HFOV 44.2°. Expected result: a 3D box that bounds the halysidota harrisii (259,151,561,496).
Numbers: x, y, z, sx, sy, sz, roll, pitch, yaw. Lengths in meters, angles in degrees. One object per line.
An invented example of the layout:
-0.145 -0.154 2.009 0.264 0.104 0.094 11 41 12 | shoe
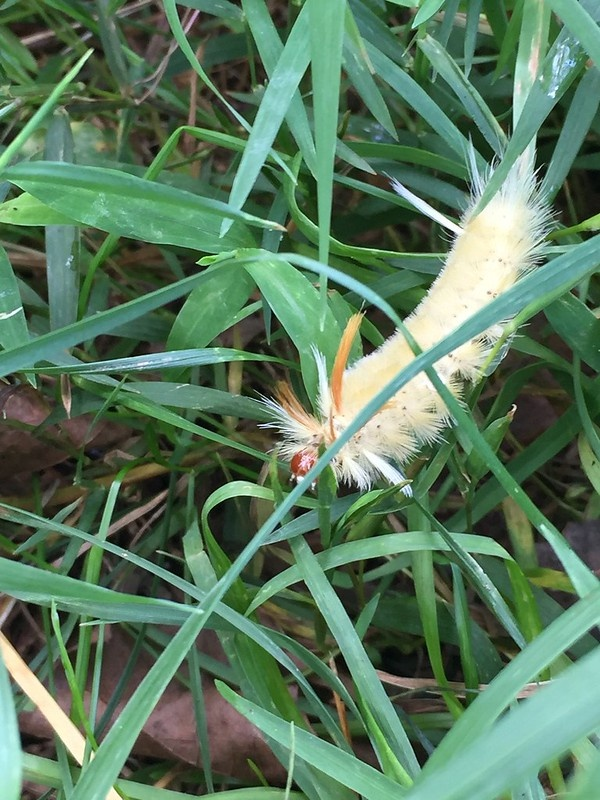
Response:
0.169 -0.060 0.866 0.477 0.161 0.223 -41 72 -8 | halysidota harrisii
